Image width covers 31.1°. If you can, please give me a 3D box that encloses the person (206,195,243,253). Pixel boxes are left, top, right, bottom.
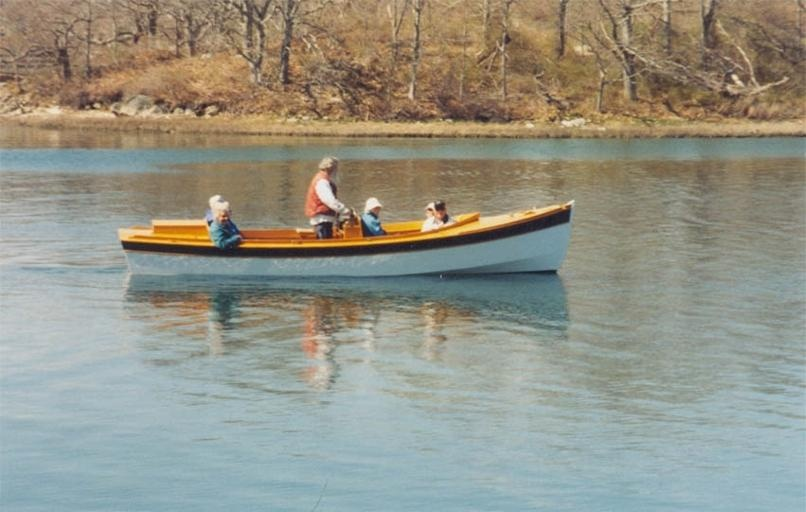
[{"bbox_3d":[-8.385,-1.557,67.343,1.516,2.492,0.695,-3,10,-5],"label":"person"}]
